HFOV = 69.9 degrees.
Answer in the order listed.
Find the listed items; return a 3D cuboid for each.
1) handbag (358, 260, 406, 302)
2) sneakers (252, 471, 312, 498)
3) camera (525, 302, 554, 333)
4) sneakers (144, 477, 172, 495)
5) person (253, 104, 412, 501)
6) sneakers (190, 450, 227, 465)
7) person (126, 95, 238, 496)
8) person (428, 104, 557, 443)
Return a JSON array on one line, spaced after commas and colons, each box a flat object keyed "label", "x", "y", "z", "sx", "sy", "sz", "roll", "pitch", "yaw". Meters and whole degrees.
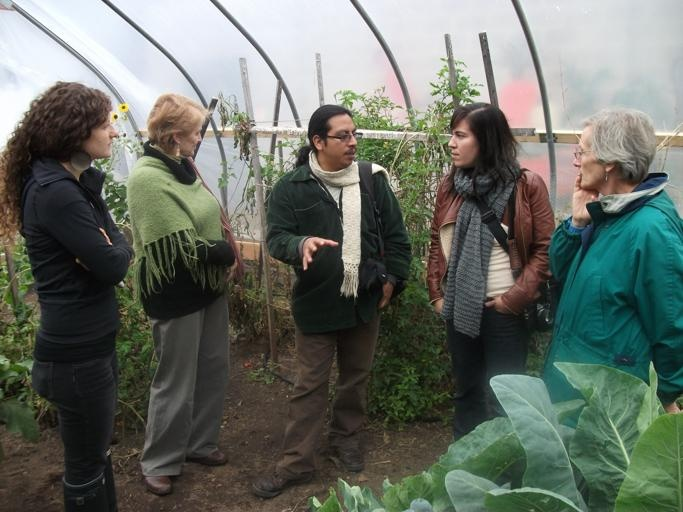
[{"label": "handbag", "x": 0.249, "y": 0.153, "z": 3.119, "sx": 0.274, "sy": 0.105, "sz": 0.200, "roll": 32, "pitch": -23, "yaw": -26}, {"label": "sneakers", "x": -0.392, "y": 1.413, "z": 3.075, "sx": 0.374, "sy": 0.151, "sz": 0.135, "roll": 0, "pitch": 26, "yaw": -20}, {"label": "camera", "x": 1.074, "y": 0.337, "z": 2.659, "sx": 0.156, "sy": 0.150, "sz": 0.114, "roll": -28, "pitch": -20, "yaw": 17}, {"label": "sneakers", "x": -1.164, "y": 1.438, "z": 3.089, "sx": 0.194, "sy": 0.079, "sz": 0.077, "roll": 1, "pitch": 3, "yaw": 39}, {"label": "person", "x": -0.065, "y": 0.238, "z": 3.128, "sx": 1.073, "sy": 2.341, "sz": 0.411, "roll": -7, "pitch": 10, "yaw": -20}, {"label": "sneakers", "x": -0.939, "y": 1.390, "z": 3.397, "sx": 0.254, "sy": 0.108, "sz": 0.094, "roll": -3, "pitch": 12, "yaw": 2}, {"label": "person", "x": -1.029, "y": 0.229, "z": 3.128, "sx": 0.763, "sy": 2.466, "sz": 0.404, "roll": -10, "pitch": 11, "yaw": -32}, {"label": "person", "x": 0.837, "y": 0.118, "z": 2.841, "sx": 0.730, "sy": 1.965, "sz": 0.433, "roll": 0, "pitch": 10, "yaw": 23}]
